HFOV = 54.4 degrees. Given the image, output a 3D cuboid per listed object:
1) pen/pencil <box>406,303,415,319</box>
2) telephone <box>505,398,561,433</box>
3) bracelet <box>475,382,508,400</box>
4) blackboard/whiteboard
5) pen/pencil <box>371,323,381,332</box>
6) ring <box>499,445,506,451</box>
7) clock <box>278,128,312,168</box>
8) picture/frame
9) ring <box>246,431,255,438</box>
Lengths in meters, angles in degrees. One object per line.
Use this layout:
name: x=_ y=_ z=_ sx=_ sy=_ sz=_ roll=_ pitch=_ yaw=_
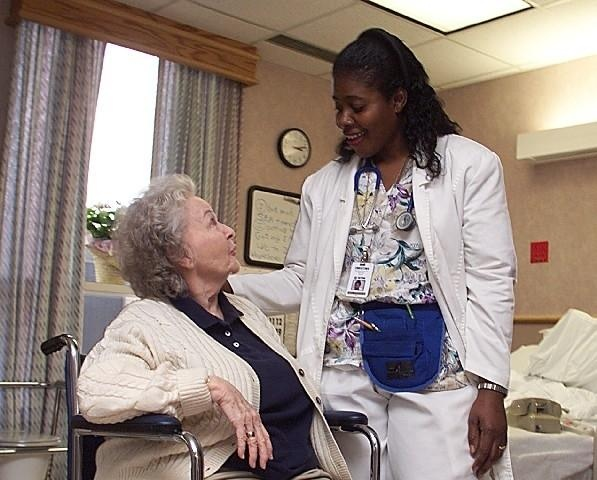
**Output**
pen/pencil: x=0.333 y=0.212 z=1.722 sx=0.026 sy=0.040 sz=0.012 roll=2 pitch=1 yaw=32
telephone: x=1.141 y=0.835 z=2.777 sx=0.238 sy=0.150 sz=0.264 roll=5 pitch=-11 yaw=14
bracelet: x=0.544 y=0.414 z=1.628 sx=0.080 sy=0.033 sz=0.074 roll=2 pitch=0 yaw=19
blackboard/whiteboard: x=-0.190 y=-0.090 z=4.780 sx=0.055 sy=0.645 sz=0.650 roll=2 pitch=-3 yaw=43
pen/pencil: x=0.231 y=0.263 z=1.735 sx=0.012 sy=0.040 sz=0.012 roll=-39 pitch=-14 yaw=-19
ring: x=0.556 y=0.566 z=1.579 sx=0.023 sy=0.009 sz=0.023 roll=-3 pitch=-6 yaw=0
clock: x=-0.029 y=-0.779 z=4.929 sx=0.346 sy=0.339 sz=0.042 roll=1 pitch=3 yaw=-37
picture/frame: x=-0.198 y=-0.102 z=4.778 sx=0.057 sy=0.648 sz=0.657 roll=6 pitch=0 yaw=39
ring: x=-0.113 y=0.461 z=1.373 sx=0.019 sy=0.013 sz=0.012 roll=2 pitch=1 yaw=-10
